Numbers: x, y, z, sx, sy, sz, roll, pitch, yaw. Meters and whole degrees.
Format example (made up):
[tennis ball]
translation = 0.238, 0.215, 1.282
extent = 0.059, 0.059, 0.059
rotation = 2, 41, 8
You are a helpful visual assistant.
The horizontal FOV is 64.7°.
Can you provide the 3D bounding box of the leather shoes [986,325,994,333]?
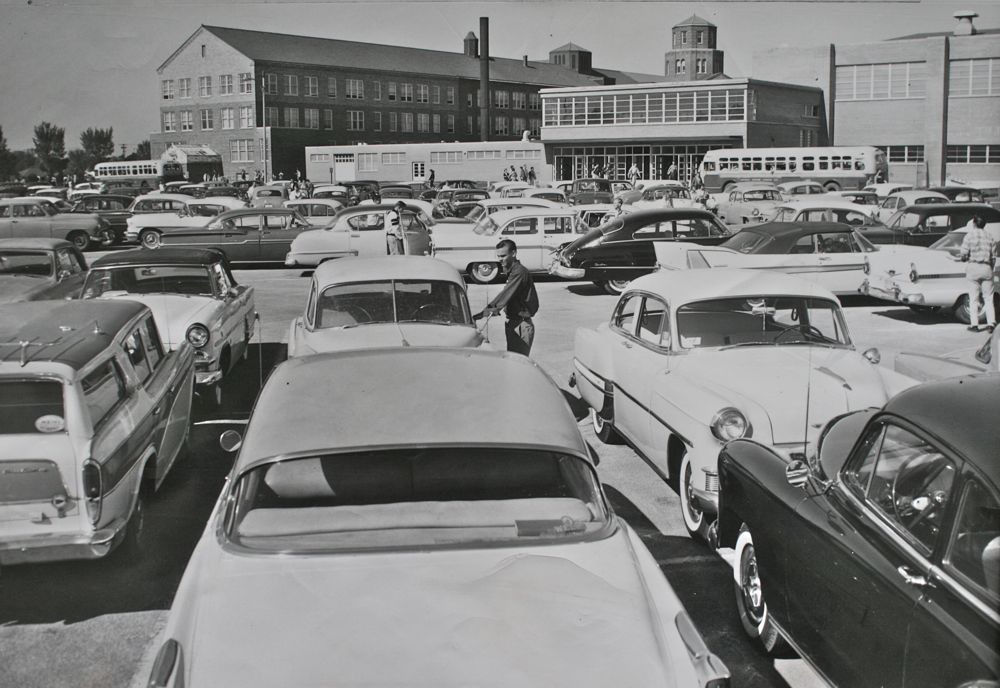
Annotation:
[leather shoes]
translation = 8.997, -0.254, 14.340
extent = 0.111, 0.057, 0.167
rotation = 5, -30, 2
